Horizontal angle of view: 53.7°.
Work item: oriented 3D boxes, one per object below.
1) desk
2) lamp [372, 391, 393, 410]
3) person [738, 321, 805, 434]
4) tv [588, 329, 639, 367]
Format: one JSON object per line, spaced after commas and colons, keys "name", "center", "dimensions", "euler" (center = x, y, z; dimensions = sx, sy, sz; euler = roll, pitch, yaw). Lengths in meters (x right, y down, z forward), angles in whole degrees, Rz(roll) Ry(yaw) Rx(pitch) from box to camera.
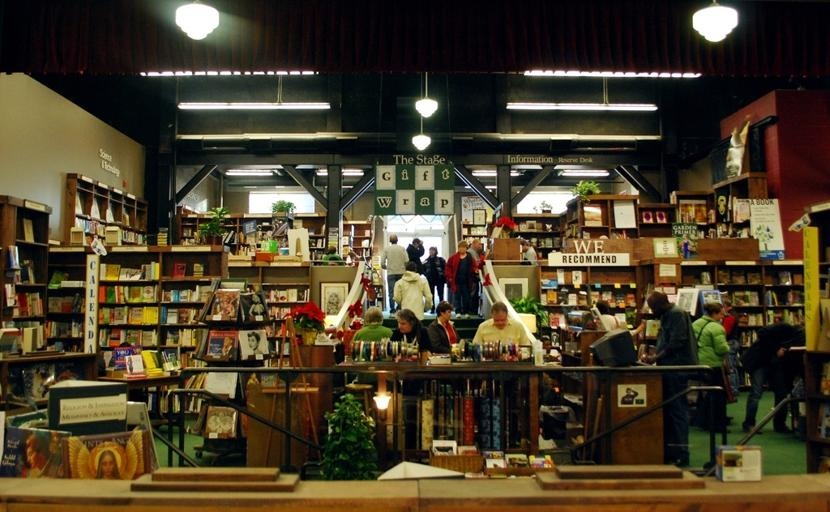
{"name": "desk", "center": [1.724, 2.322, 11.861], "dimensions": [5.022, 1.548, 1.618], "euler": [0, -10, -1]}
{"name": "lamp", "center": [-0.477, 2.062, 11.715], "dimensions": [0.277, 0.254, 0.273], "euler": [-1, 1, -17]}
{"name": "person", "center": [6.094, 2.054, 13.854], "dimensions": [1.160, 1.790, 0.580], "euler": [4, -11, -24]}
{"name": "tv", "center": [2.977, 1.372, 12.171], "dimensions": [0.575, 0.504, 0.587], "euler": [-7, -2, -22]}
